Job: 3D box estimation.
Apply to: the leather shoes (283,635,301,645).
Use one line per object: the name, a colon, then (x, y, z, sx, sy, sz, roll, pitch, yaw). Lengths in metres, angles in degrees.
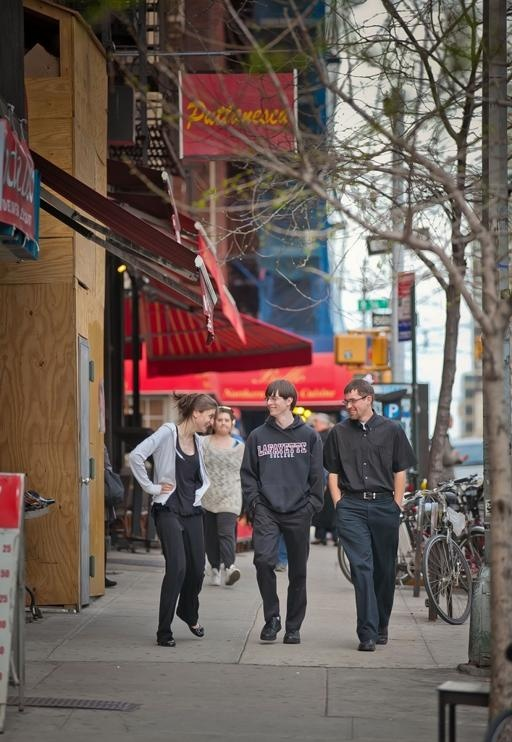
leather shoes: (0.243, 1.790, 9.135, 0.121, 0.068, 0.103, -1, -1, -11)

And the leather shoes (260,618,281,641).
leather shoes: (0.098, 1.747, 9.144, 0.072, 0.105, 0.227, 2, -3, 10)

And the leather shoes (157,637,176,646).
leather shoes: (-0.584, 1.751, 8.812, 0.119, 0.051, 0.143, -2, -1, -6)

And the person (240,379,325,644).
person: (0.189, 0.947, 9.269, 0.572, 1.783, 0.421, -1, -1, -1)

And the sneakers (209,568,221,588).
sneakers: (-0.384, 1.918, 12.644, 0.106, 0.165, 0.338, 1, -7, -6)

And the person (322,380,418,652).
person: (0.801, 0.950, 9.257, 0.588, 1.804, 0.703, -1, -1, -8)

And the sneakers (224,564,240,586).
sneakers: (-0.212, 1.807, 12.154, 0.086, 0.118, 0.269, -8, -31, -26)

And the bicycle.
bicycle: (1.580, 1.473, 11.529, 0.758, 1.195, 1.805, 2, -8, -13)

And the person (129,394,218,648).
person: (-0.536, 0.972, 8.982, 0.563, 1.652, 0.623, -1, -1, -2)

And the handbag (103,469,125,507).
handbag: (-1.249, 1.001, 11.817, 0.149, 0.326, 0.315, -1, -1, -5)

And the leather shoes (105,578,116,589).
leather shoes: (-1.290, 1.881, 12.080, 0.120, 0.094, 0.047, 0, 3, -6)
